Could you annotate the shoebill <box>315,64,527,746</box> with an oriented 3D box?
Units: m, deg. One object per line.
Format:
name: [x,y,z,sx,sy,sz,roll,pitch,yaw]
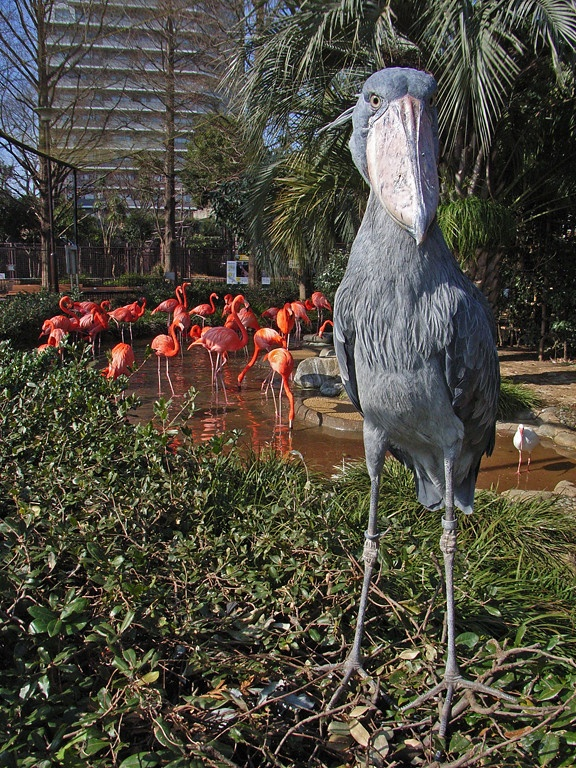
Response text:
shoebill: [0.409,0.089,2.263,0.570,2.072,0.878,4,10,13]
